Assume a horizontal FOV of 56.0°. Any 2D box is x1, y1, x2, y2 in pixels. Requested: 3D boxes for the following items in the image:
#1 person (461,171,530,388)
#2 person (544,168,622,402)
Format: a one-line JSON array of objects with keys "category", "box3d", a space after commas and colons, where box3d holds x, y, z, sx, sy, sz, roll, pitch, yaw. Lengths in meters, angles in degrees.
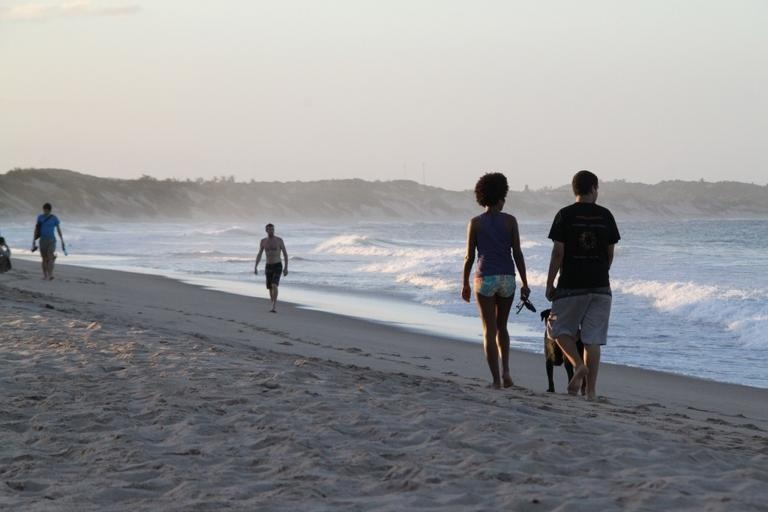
[{"category": "person", "box3d": [1.205, 0.304, 7.941, 0.664, 2.376, 0.530, 5, 14, 8]}, {"category": "person", "box3d": [2.030, 0.482, 7.642, 0.690, 2.079, 0.399, 6, 14, 12]}]
